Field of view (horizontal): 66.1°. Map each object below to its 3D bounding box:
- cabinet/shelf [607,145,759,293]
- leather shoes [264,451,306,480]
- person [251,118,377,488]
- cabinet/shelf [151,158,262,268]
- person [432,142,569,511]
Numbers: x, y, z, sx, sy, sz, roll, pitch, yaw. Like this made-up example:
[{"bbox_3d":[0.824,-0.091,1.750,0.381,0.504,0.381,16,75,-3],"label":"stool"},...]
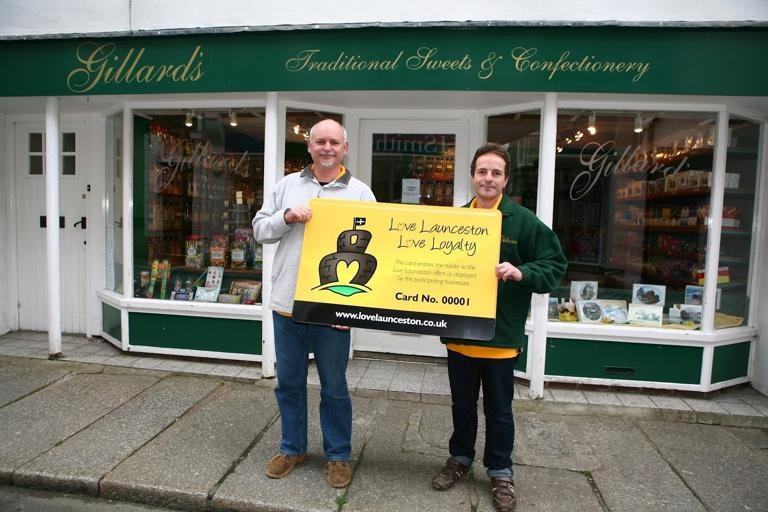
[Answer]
[{"bbox_3d":[3.590,-0.498,6.989,1.913,1.599,0.603,1,3,27],"label":"cabinet/shelf"},{"bbox_3d":[-0.926,1.925,5.479,0.163,0.148,0.360,9,7,38],"label":"leather shoes"},{"bbox_3d":[-0.680,0.428,5.365,0.976,3.286,0.512,0,6,-3],"label":"person"},{"bbox_3d":[-2.219,-0.577,7.468,1.522,1.240,0.473,1,5,12],"label":"cabinet/shelf"},{"bbox_3d":[1.016,0.611,5.261,1.074,3.203,0.577,1,6,10],"label":"person"}]
